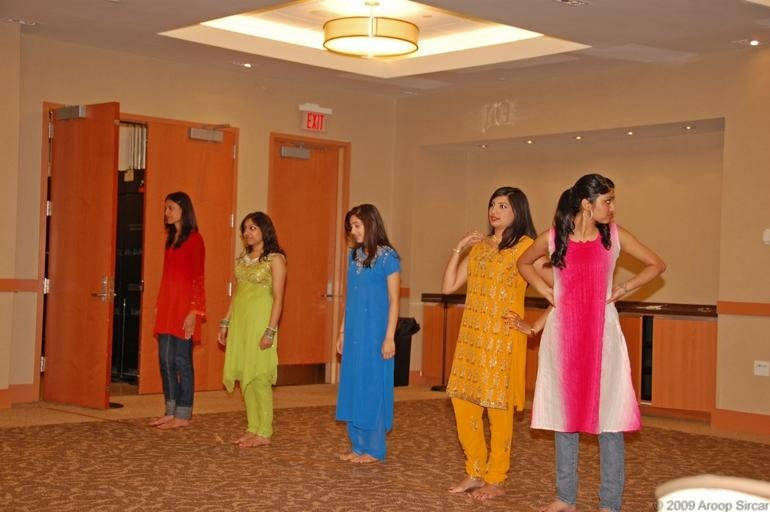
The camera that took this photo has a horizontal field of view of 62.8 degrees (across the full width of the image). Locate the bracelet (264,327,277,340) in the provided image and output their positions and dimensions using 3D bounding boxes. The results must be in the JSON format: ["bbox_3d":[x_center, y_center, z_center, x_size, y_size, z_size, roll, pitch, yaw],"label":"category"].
[{"bbox_3d":[-1.031,0.696,5.709,0.101,0.073,0.099,1,6,-43],"label":"bracelet"}]

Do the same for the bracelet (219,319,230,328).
[{"bbox_3d":[-1.548,0.655,6.117,0.093,0.083,0.093,-5,-3,28],"label":"bracelet"}]

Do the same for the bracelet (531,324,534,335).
[{"bbox_3d":[1.046,0.539,4.494,0.013,0.051,0.052,-2,10,-10],"label":"bracelet"}]

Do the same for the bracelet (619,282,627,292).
[{"bbox_3d":[1.556,0.205,4.115,0.036,0.018,0.048,-5,41,44],"label":"bracelet"}]

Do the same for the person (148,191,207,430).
[{"bbox_3d":[-2.075,0.545,6.359,0.463,2.393,0.451,2,-1,-21],"label":"person"}]

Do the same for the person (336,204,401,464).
[{"bbox_3d":[-0.149,0.512,5.328,0.520,1.845,0.292,2,-1,5],"label":"person"}]

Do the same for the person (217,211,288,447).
[{"bbox_3d":[-1.216,0.672,5.840,0.535,2.087,0.346,2,-1,-1],"label":"person"}]
